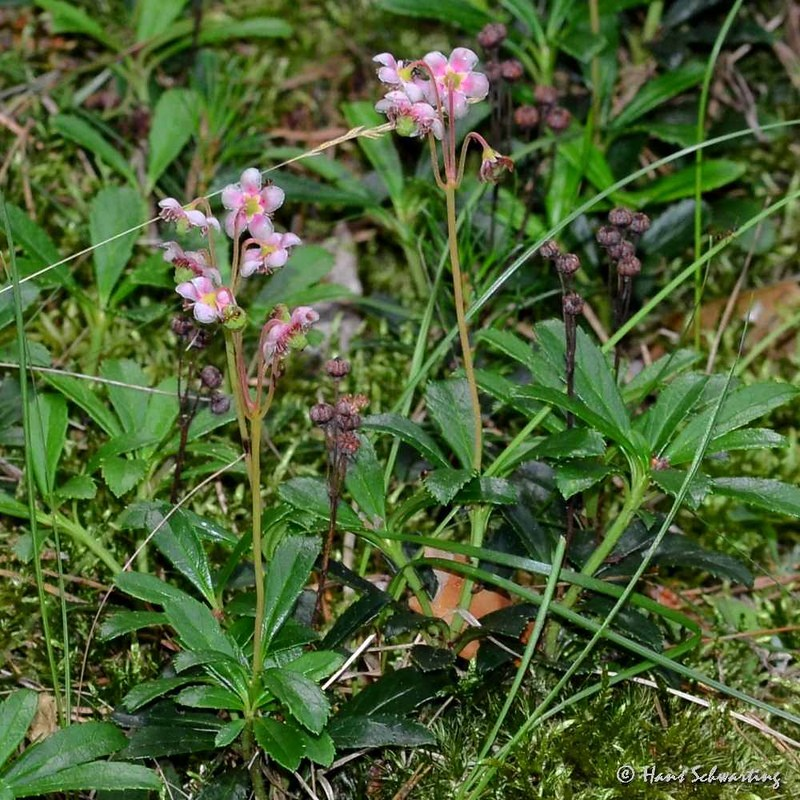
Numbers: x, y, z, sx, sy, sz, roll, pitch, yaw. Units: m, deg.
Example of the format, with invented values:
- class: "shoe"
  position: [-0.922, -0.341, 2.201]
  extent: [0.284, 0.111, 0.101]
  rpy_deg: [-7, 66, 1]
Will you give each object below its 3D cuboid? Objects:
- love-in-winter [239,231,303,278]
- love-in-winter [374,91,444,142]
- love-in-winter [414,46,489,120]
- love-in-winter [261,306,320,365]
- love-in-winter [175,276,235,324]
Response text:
- class: "love-in-winter"
  position: [-0.220, -0.243, 1.613]
  extent: [0.104, 0.054, 0.097]
  rpy_deg: [-27, 32, 21]
- class: "love-in-winter"
  position: [0.021, -0.503, 1.615]
  extent: [0.124, 0.090, 0.120]
  rpy_deg: [-2, 55, -3]
- class: "love-in-winter"
  position: [0.098, -0.596, 1.658]
  extent: [0.142, 0.124, 0.030]
  rpy_deg: [-1, 65, 25]
- class: "love-in-winter"
  position: [-0.184, -0.104, 1.542]
  extent: [0.053, 0.107, 0.082]
  rpy_deg: [6, 40, -55]
- class: "love-in-winter"
  position: [-0.335, -0.154, 1.533]
  extent: [0.092, 0.037, 0.093]
  rpy_deg: [-30, 74, -19]
